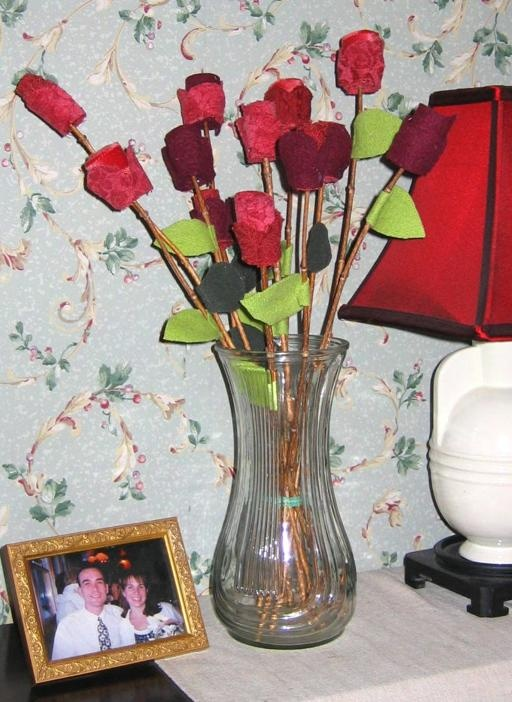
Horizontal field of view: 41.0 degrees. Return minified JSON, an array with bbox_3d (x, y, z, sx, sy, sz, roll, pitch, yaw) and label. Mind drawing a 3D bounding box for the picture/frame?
[{"bbox_3d":[-0.130,0.245,0.673,0.221,0.137,0.047,-8,-23,-27],"label":"picture/frame"}]
